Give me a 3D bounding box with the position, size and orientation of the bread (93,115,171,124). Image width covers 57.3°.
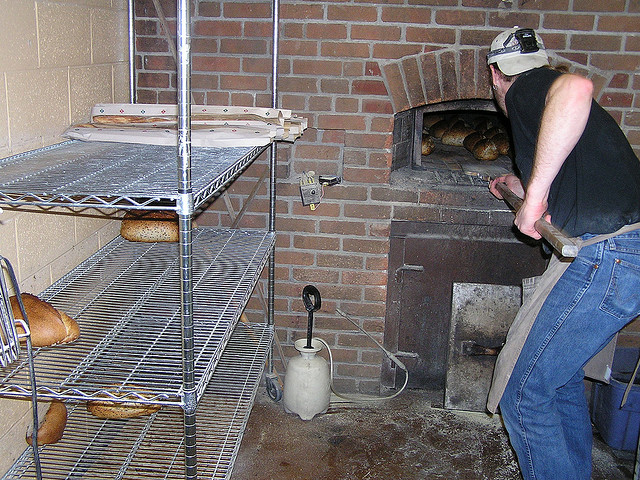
[{"bbox_3d":[-0.753,-0.476,2.311,0.205,0.020,0.046,0,17,-12],"label":"bread"}]

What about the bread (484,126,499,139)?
[{"bbox_3d":[1.022,-0.648,3.506,0.084,0.081,0.021,-5,-5,22],"label":"bread"}]

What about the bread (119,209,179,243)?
[{"bbox_3d":[-0.730,-0.052,2.521,0.217,0.167,0.213,-6,14,-25],"label":"bread"}]

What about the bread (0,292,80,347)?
[{"bbox_3d":[-0.825,0.241,1.743,0.207,0.071,0.140,17,23,-2],"label":"bread"}]

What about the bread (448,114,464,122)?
[{"bbox_3d":[0.845,-0.769,3.675,0.054,0.013,0.055,-7,31,18],"label":"bread"}]

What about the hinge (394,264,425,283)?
[{"bbox_3d":[0.471,0.178,3.120,0.154,0.099,0.010,1,14,2],"label":"hinge"}]

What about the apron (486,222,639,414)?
[{"bbox_3d":[0.877,0.301,2.207,0.336,0.770,0.399,-12,18,-42],"label":"apron"}]

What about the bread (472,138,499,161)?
[{"bbox_3d":[0.936,-0.512,3.327,0.130,0.087,0.123,-3,16,11],"label":"bread"}]

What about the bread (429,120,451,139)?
[{"bbox_3d":[0.746,-0.701,3.684,0.111,0.107,0.030,4,-21,35],"label":"bread"}]

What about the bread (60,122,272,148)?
[{"bbox_3d":[-0.576,-0.381,2.135,0.653,0.063,0.180,3,14,1],"label":"bread"}]

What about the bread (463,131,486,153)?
[{"bbox_3d":[0.904,-0.580,3.521,0.136,0.116,0.041,-32,-46,30],"label":"bread"}]
